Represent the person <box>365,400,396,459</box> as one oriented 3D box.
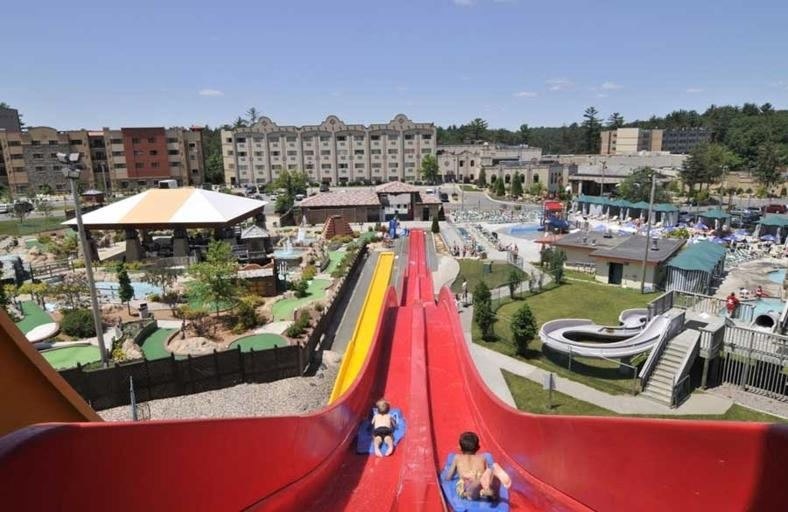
[{"bbox_3d":[-0.302,5.017,14.772,0.638,0.477,1.493,1,22,-2],"label":"person"}]
